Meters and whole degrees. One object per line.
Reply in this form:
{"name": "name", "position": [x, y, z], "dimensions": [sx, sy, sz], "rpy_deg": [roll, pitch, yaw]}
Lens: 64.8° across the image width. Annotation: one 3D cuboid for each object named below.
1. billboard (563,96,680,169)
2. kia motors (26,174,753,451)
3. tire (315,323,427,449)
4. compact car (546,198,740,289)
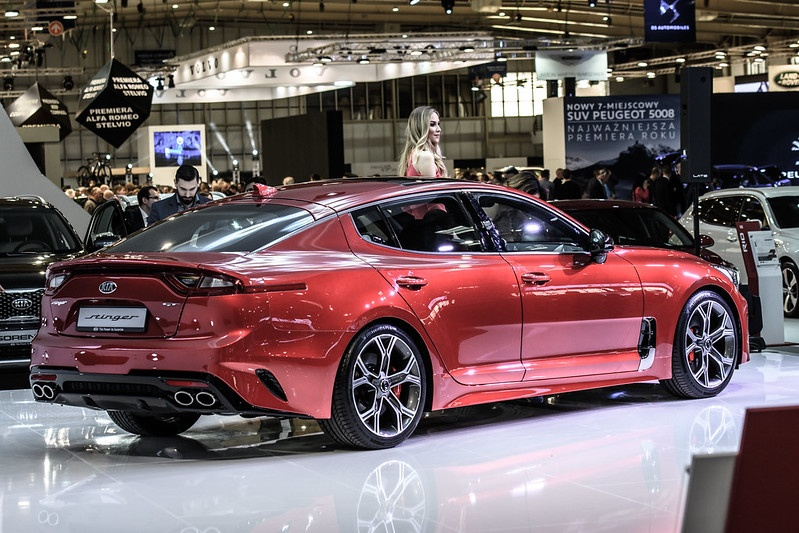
{"name": "billboard", "position": [8.483, -4.981, 23.769], "dimensions": [4.570, 3.101, 0.070], "rpy_deg": [-1, 1, 5]}
{"name": "kia motors", "position": [0.047, 0.296, 5.118], "dimensions": [5.192, 2.057, 1.153], "rpy_deg": [-2, 1, -26]}
{"name": "tire", "position": [-0.204, 0.822, 4.445], "dimensions": [0.841, 0.837, 0.317], "rpy_deg": [-14, 10, -41]}
{"name": "compact car", "position": [3.180, -0.243, 8.190], "dimensions": [2.180, 1.026, 1.173], "rpy_deg": [-2, 12, -17]}
